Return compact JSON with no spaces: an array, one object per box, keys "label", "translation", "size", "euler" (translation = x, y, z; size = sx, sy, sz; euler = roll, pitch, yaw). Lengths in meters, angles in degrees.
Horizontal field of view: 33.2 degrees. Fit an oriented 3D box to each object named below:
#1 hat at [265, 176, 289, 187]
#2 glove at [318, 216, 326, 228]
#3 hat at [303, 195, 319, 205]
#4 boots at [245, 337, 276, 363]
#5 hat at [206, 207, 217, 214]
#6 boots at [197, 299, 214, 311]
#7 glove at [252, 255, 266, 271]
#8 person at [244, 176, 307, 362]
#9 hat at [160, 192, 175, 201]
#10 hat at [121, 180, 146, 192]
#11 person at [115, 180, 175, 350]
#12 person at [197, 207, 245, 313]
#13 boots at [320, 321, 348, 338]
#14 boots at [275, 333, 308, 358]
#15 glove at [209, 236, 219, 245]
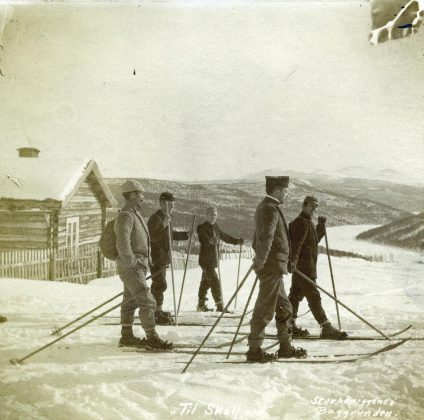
[{"label":"hat","translation":[0.959,-0.420,10.424],"size":[0.216,0.099,0.195],"euler":[3,3,16]},{"label":"glove","translation":[1.748,0.192,11.371],"size":[0.111,0.138,0.142],"euler":[-1,-40,4]},{"label":"hat","translation":[1.536,-0.152,11.150],"size":[0.167,0.106,0.161],"euler":[8,-2,-31]},{"label":"boots","translation":[0.689,2.088,10.355],"size":[0.500,0.324,0.173],"euler":[-4,-1,-5]},{"label":"hat","translation":[0.000,0.003,12.908],"size":[0.153,0.132,0.114],"euler":[-22,12,-19]},{"label":"boots","translation":[-0.096,1.748,12.962],"size":[0.328,0.209,0.152],"euler":[1,-2,-6]},{"label":"glove","translation":[0.654,0.766,10.140],"size":[0.194,0.178,0.168],"euler":[5,4,-7]},{"label":"person","translation":[0.917,0.846,10.338],"size":[0.742,2.606,0.846],"euler":[1,11,7]},{"label":"hat","translation":[-0.731,-0.209,11.825],"size":[0.201,0.094,0.137],"euler":[-2,6,-18]},{"label":"hat","translation":[-1.179,-0.365,10.677],"size":[0.264,0.136,0.190],"euler":[-5,12,-21]},{"label":"person","translation":[-1.083,0.824,10.634],"size":[0.660,2.464,0.813],"euler":[-6,12,-29]},{"label":"person","translation":[0.031,0.893,12.924],"size":[0.687,1.876,0.537],"euler":[5,12,24]},{"label":"boots","translation":[1.866,1.894,11.185],"size":[0.490,0.317,0.190],"euler":[-2,-1,2]},{"label":"boots","translation":[1.124,2.038,10.484],"size":[0.549,0.352,0.186],"euler":[-3,-2,-4]},{"label":"glove","translation":[0.031,0.546,12.773],"size":[0.165,0.108,0.160],"euler":[0,10,-4]}]
